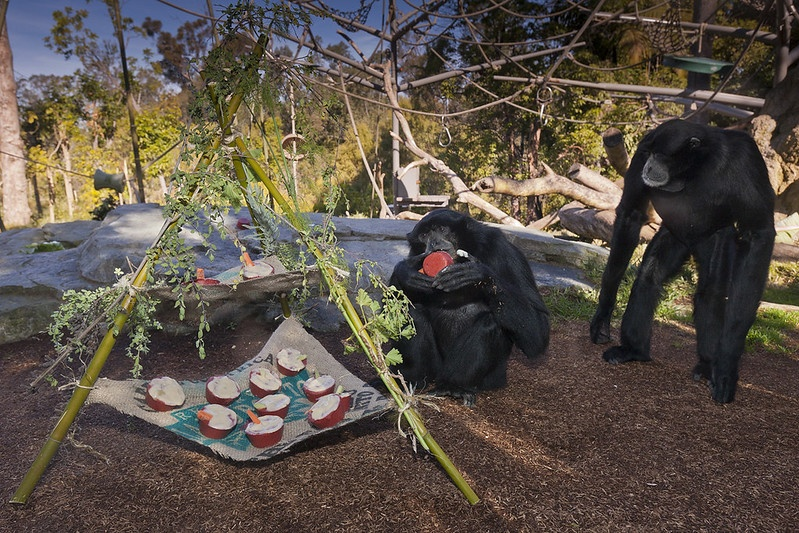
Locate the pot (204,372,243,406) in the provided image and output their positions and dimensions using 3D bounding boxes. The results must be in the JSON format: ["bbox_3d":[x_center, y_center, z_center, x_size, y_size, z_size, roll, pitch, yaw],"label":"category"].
[{"bbox_3d":[-1.765,1.196,5.462,0.264,0.101,0.267,22,34,-16],"label":"pot"}]

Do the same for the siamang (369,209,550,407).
[{"bbox_3d":[0.722,0.393,6.235,1.757,2.018,1.488,5,8,30],"label":"siamang"}]

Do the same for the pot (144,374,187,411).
[{"bbox_3d":[-2.215,1.194,5.232,0.349,0.252,0.230,-4,15,-22],"label":"pot"}]

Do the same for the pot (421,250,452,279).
[{"bbox_3d":[0.356,-0.022,5.597,0.328,0.235,0.248,4,14,12],"label":"pot"}]

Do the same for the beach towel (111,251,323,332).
[{"bbox_3d":[-1.683,0.184,5.691,1.552,0.550,1.782,-6,15,-12],"label":"beach towel"}]

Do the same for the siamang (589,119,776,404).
[{"bbox_3d":[3.314,-0.191,6.586,1.253,2.909,1.842,-9,14,-40],"label":"siamang"}]

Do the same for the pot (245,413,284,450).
[{"bbox_3d":[-1.248,1.513,5.116,0.327,0.212,0.273,2,14,3],"label":"pot"}]
